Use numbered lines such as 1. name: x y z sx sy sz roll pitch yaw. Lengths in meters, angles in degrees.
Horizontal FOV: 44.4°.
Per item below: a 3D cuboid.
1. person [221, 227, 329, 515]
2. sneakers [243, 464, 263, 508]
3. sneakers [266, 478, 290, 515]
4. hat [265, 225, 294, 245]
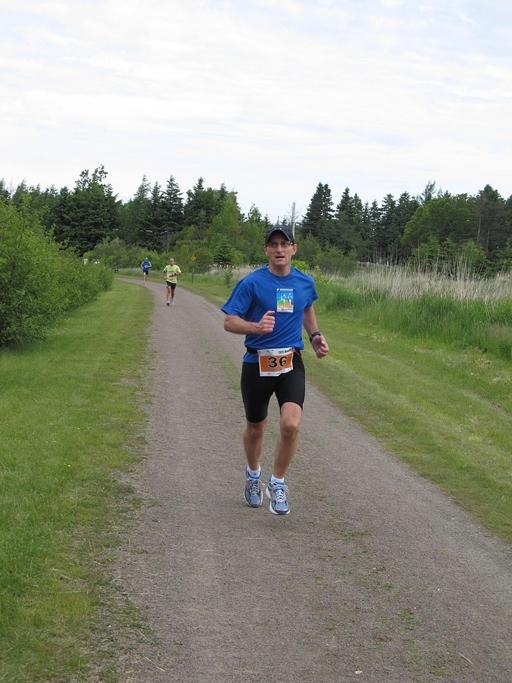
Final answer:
1. person: 0.119 0.267 4.732 0.615 2.197 0.993 7 5 28
2. sneakers: -0.021 1.144 5.014 0.125 0.352 0.143 -3 -18 -4
3. sneakers: 0.170 1.206 4.803 0.129 0.151 0.347 4 0 -10
4. hat: 0.176 -0.784 4.680 0.217 0.154 0.308 5 5 2
